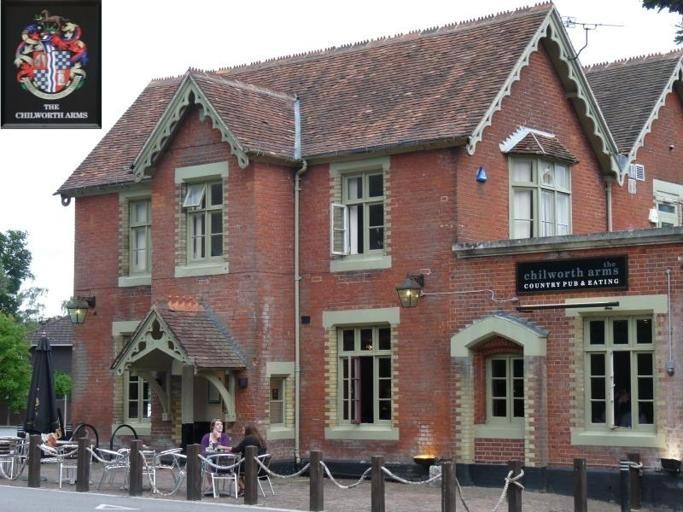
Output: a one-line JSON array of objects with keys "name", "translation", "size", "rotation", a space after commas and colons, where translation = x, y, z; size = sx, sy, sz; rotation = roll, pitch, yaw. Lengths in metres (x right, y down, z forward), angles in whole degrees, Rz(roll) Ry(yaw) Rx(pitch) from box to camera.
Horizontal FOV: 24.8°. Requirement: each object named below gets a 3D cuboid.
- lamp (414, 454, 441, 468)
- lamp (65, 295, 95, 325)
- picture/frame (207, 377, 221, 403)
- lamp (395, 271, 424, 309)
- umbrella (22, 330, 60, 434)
[{"name": "lamp", "translation": [2.065, 4.994, 38.301], "size": [0.635, 0.307, 0.388], "rotation": [-5, -12, 19]}, {"name": "lamp", "translation": [-7.467, 1.512, 44.014], "size": [0.791, 0.807, 0.641], "rotation": [5, -13, -26]}, {"name": "picture/frame", "translation": [-3.350, 3.491, 40.552], "size": [0.092, 0.938, 0.661], "rotation": [5, -10, -43]}, {"name": "lamp", "translation": [1.817, 0.841, 38.926], "size": [0.848, 1.146, 0.535], "rotation": [1, -23, -9]}, {"name": "umbrella", "translation": [-7.858, 3.362, 40.417], "size": [0.879, 2.646, 1.491], "rotation": [2, -11, -12]}]
